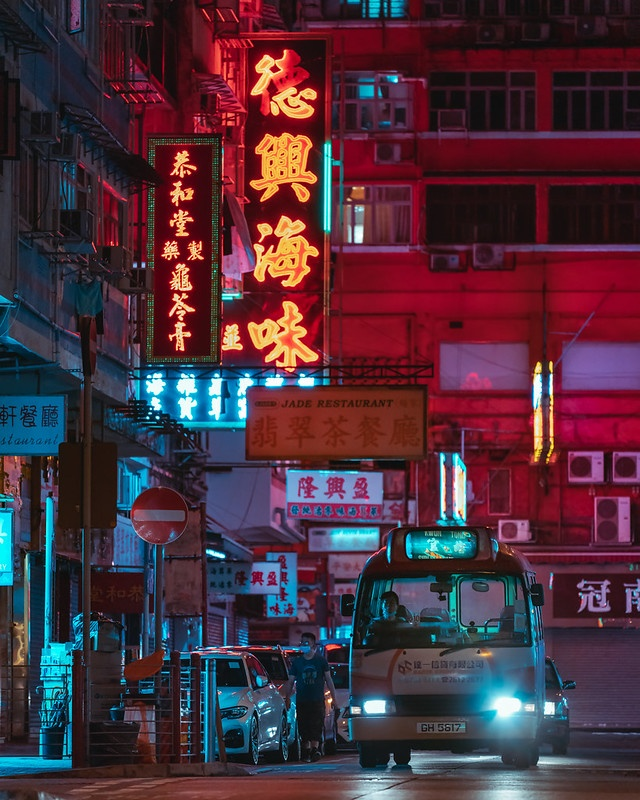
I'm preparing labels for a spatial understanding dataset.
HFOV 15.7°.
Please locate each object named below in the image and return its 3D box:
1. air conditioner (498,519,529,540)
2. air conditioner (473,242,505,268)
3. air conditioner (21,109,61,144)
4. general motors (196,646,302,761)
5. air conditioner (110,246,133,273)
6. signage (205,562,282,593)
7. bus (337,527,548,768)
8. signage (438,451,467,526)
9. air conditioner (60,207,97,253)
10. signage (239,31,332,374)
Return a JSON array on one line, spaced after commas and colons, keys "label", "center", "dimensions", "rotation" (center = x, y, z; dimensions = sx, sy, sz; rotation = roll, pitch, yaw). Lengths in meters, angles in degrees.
[{"label": "air conditioner", "center": [4.514, 3.068, 54.156], "dimensions": [0.699, 0.573, 0.423], "rotation": [0, -16, 2]}, {"label": "air conditioner", "center": [3.972, -3.428, 55.130], "dimensions": [0.547, 0.605, 0.175], "rotation": [4, 3, 7]}, {"label": "air conditioner", "center": [-3.523, -3.501, 29.739], "dimensions": [0.461, 0.432, 0.347], "rotation": [-3, -13, 4]}, {"label": "general motors", "center": [-1.013, 4.398, 32.850], "dimensions": [0.932, 1.089, 2.432], "rotation": [-1, -17, 7]}, {"label": "air conditioner", "center": [-2.631, -1.929, 31.288], "dimensions": [0.234, 0.441, 0.474], "rotation": [-3, -13, 2]}, {"label": "signage", "center": [-1.465, 3.407, 44.730], "dimensions": [1.222, 0.367, 1.456], "rotation": [-1, -5, 11]}, {"label": "bus", "center": [1.528, 2.996, 28.847], "dimensions": [1.742, 2.233, 3.570], "rotation": [-1, -12, 5]}, {"label": "signage", "center": [2.852, 1.943, 50.510], "dimensions": [0.349, 1.083, 1.495], "rotation": [0, -3, 7]}, {"label": "air conditioner", "center": [-3.114, -2.204, 30.347], "dimensions": [0.385, 0.757, 0.769], "rotation": [0, -1, -3]}, {"label": "signage", "center": [-0.510, -3.336, 38.016], "dimensions": [1.499, 5.879, 1.048], "rotation": [-2, -12, 0]}]
